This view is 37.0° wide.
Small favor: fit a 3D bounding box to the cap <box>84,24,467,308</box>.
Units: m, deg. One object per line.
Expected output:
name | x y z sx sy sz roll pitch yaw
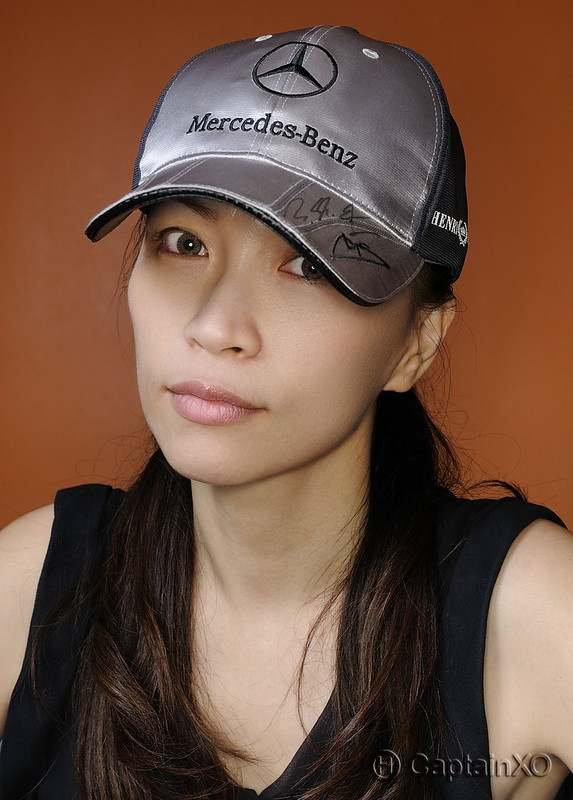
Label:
cap | 0.017 -0.314 1.074 0.406 0.263 0.510 18 27 18
